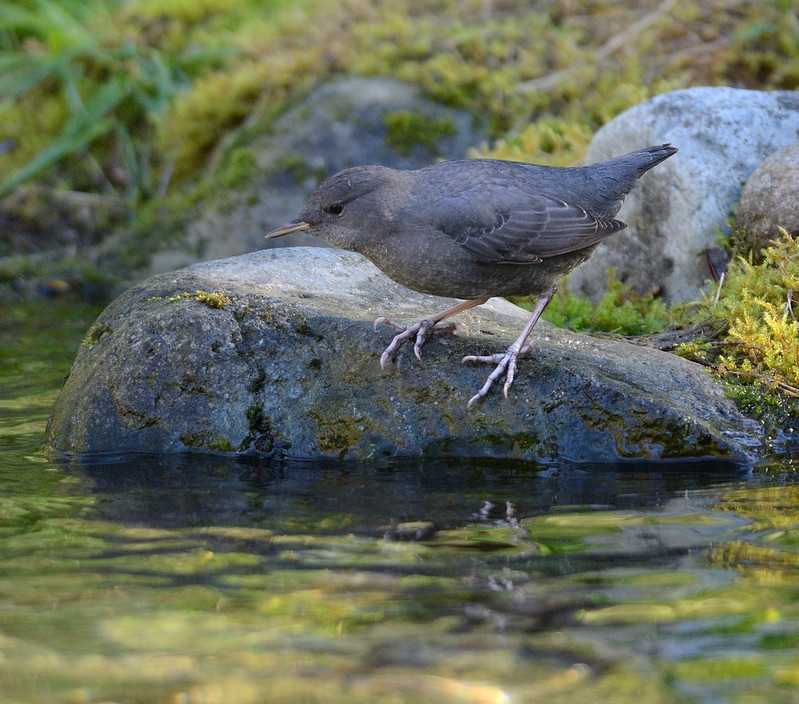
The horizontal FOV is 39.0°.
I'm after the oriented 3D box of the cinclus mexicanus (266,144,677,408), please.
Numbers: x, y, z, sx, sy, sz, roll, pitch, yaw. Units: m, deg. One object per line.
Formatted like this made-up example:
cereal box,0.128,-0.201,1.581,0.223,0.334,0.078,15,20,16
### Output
cinclus mexicanus,0.389,-0.521,5.834,1.777,0.939,0.719,-13,32,-24
